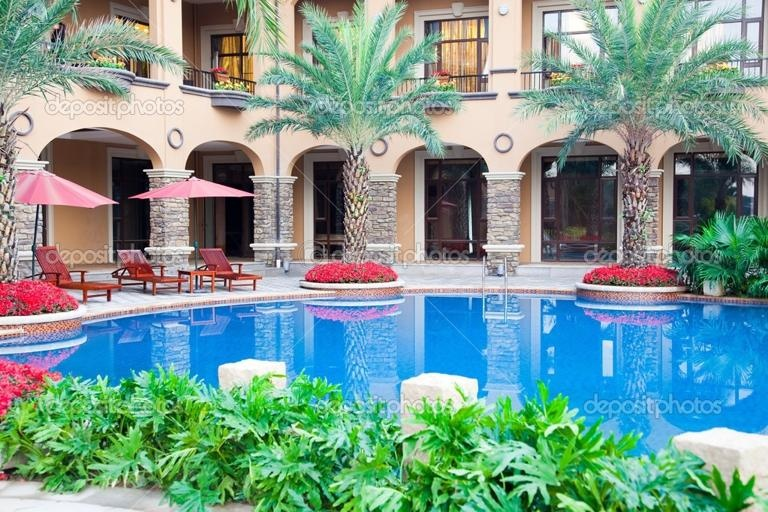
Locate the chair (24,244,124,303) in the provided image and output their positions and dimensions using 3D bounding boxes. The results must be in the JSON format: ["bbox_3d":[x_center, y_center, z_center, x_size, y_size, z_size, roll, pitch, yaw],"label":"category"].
[{"bbox_3d":[-7.498,0.436,15.169,2.169,1.114,0.815,6,4,23],"label":"chair"}]

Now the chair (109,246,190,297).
[{"bbox_3d":[-6.402,0.447,17.075,2.043,1.010,0.947,4,1,32],"label":"chair"}]

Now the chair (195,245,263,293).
[{"bbox_3d":[-4.707,0.315,18.448,1.194,1.239,2.443,-2,3,-40],"label":"chair"}]
